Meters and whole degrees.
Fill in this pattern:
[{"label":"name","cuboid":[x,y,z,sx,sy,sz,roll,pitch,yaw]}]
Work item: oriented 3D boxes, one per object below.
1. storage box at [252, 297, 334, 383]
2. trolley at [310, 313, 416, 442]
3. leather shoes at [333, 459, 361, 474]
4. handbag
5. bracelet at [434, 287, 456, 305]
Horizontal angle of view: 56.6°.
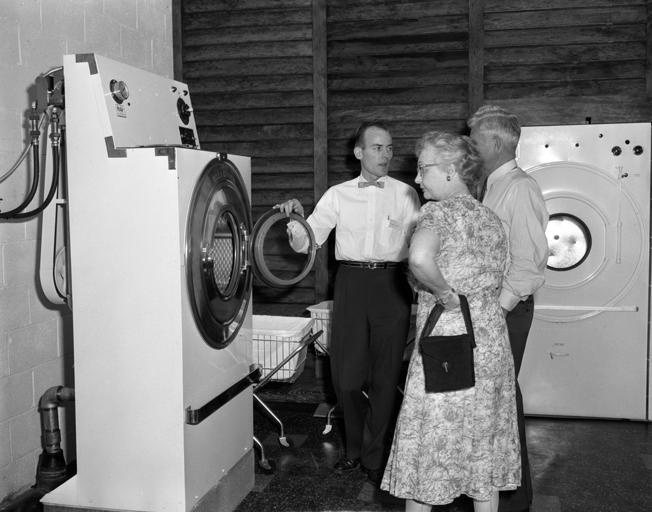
[{"label":"storage box","cuboid":[-0.226,0.547,3.895,0.356,0.326,0.576,0,-6,7]},{"label":"trolley","cuboid":[0.361,0.784,4.308,0.770,1.089,0.759,-1,3,2]},{"label":"leather shoes","cuboid":[0.129,1.247,3.609,0.155,0.071,0.064,5,-5,-26]},{"label":"handbag","cuboid":[0.485,0.351,2.401,0.222,0.388,0.145,3,10,12]},{"label":"bracelet","cuboid":[0.472,0.148,2.379,0.061,0.056,0.063,-7,6,4]}]
